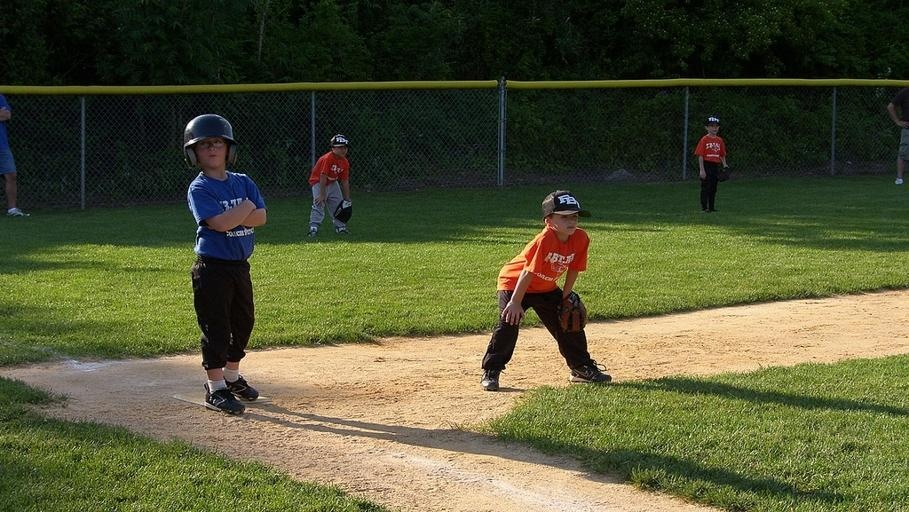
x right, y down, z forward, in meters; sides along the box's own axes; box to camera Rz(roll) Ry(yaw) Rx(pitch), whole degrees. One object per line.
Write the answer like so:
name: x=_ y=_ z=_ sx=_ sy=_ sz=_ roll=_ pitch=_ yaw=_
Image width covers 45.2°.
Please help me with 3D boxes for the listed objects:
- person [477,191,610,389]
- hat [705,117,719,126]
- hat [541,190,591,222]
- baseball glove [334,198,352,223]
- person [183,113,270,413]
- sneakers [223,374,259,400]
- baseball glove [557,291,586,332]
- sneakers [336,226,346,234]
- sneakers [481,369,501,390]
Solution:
person: x=1.186 y=0.421 z=14.476 sx=1.682 sy=2.581 sz=0.886 roll=-3 pitch=16 yaw=-8
hat: x=5.506 y=-2.888 z=23.260 sx=0.346 sy=0.155 sz=0.418 roll=1 pitch=3 yaw=1
hat: x=1.359 y=-0.655 z=14.288 sx=0.608 sy=0.277 sz=0.434 roll=-1 pitch=4 yaw=32
baseball glove: x=-2.047 y=-0.866 z=20.732 sx=0.236 sy=0.426 sz=0.360 roll=13 pitch=20 yaw=39
person: x=-2.866 y=0.092 z=13.870 sx=0.951 sy=3.701 sz=1.205 roll=-3 pitch=16 yaw=-9
sneakers: x=-2.790 y=1.739 z=14.100 sx=0.549 sy=0.221 sz=0.196 roll=24 pitch=16 yaw=-2
baseball glove: x=1.593 y=0.763 z=14.422 sx=0.416 sy=0.339 sz=0.517 roll=-3 pitch=4 yaw=-13
sneakers: x=-2.132 y=-0.504 z=20.732 sx=0.171 sy=0.107 sz=0.217 roll=-3 pitch=14 yaw=-12
sneakers: x=0.475 y=1.629 z=14.448 sx=0.236 sy=0.244 sz=0.175 roll=0 pitch=15 yaw=1
